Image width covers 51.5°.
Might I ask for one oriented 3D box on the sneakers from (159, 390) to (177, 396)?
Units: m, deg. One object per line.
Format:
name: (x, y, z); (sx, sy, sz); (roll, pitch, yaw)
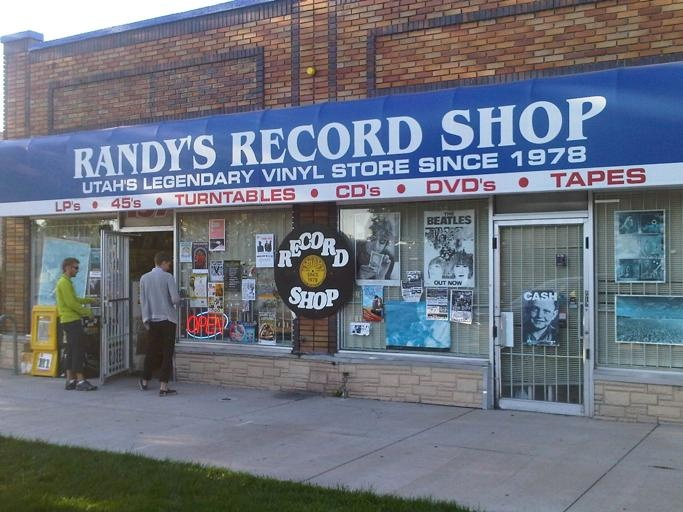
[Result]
sneakers: (-2.828, 2.200, 11.525); (0.262, 0.092, 0.096); (-1, 1, -44)

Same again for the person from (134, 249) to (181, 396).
person: (-3.018, 1.107, 11.769); (0.593, 2.312, 0.876); (-2, 4, -26)

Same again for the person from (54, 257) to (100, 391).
person: (-4.632, 1.143, 12.335); (0.590, 2.214, 1.228); (-1, 3, -22)

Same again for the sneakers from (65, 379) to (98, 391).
sneakers: (-4.429, 2.184, 12.022); (0.403, 0.153, 0.218); (0, -5, 5)

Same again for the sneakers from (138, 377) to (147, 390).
sneakers: (-3.368, 2.180, 11.972); (0.122, 0.280, 0.096); (-13, -20, 14)
